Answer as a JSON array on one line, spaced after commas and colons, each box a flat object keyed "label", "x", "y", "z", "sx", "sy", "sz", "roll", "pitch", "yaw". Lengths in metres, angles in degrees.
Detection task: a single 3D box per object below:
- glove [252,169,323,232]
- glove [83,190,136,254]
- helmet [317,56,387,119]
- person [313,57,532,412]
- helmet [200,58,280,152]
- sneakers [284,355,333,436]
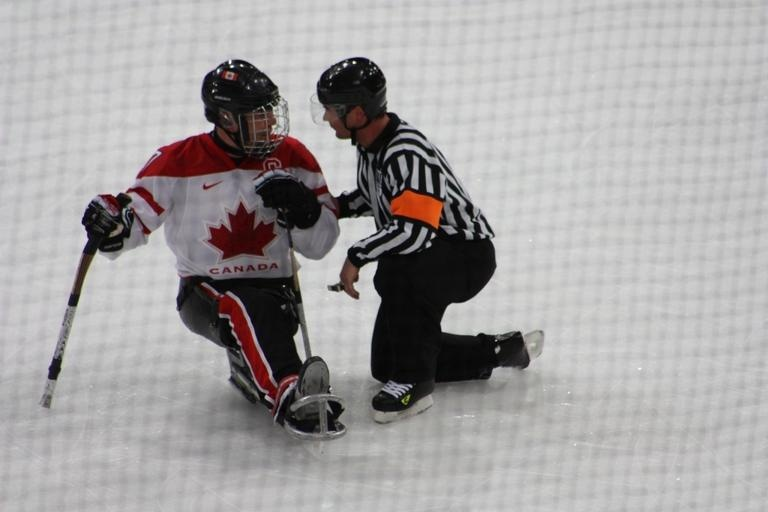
[{"label": "glove", "x": -0.516, "y": -0.337, "z": 6.971, "sx": 0.379, "sy": 0.271, "sz": 0.165, "roll": 35, "pitch": 44, "yaw": -2}, {"label": "glove", "x": -1.521, "y": -0.189, "z": 6.795, "sx": 0.276, "sy": 0.321, "sz": 0.143, "roll": 4, "pitch": 11, "yaw": -19}, {"label": "helmet", "x": -0.205, "y": -0.966, "z": 6.991, "sx": 0.441, "sy": 0.305, "sz": 0.300, "roll": -11, "pitch": 35, "yaw": -19}, {"label": "person", "x": 0.208, "y": -0.098, "z": 6.980, "sx": 1.034, "sy": 1.491, "sz": 1.431, "roll": -13, "pitch": 47, "yaw": -20}, {"label": "helmet", "x": -0.813, "y": -0.845, "z": 7.012, "sx": 0.542, "sy": 0.477, "sz": 0.378, "roll": 19, "pitch": 31, "yaw": 19}, {"label": "sneakers", "x": -0.406, "y": 0.713, "z": 6.592, "sx": 0.180, "sy": 0.470, "sz": 0.196, "roll": -2, "pitch": -1, "yaw": -13}]
